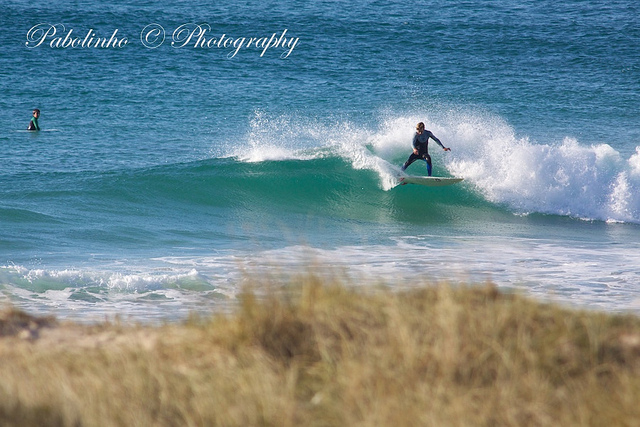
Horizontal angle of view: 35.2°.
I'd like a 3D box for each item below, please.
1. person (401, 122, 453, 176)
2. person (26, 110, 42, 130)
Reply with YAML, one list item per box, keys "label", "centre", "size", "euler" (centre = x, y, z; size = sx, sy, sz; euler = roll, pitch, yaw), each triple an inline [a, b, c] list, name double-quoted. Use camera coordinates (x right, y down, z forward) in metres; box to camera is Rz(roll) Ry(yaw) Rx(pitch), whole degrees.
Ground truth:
- label: "person"
  centre: [4.219, -2.657, 41.986]
  size: [1.230, 2.714, 1.256]
  euler: [4, 28, 6]
- label: "person"
  centre: [-13.110, -4.335, 45.991]
  size: [0.612, 0.897, 1.136]
  euler: [-7, 28, -15]
